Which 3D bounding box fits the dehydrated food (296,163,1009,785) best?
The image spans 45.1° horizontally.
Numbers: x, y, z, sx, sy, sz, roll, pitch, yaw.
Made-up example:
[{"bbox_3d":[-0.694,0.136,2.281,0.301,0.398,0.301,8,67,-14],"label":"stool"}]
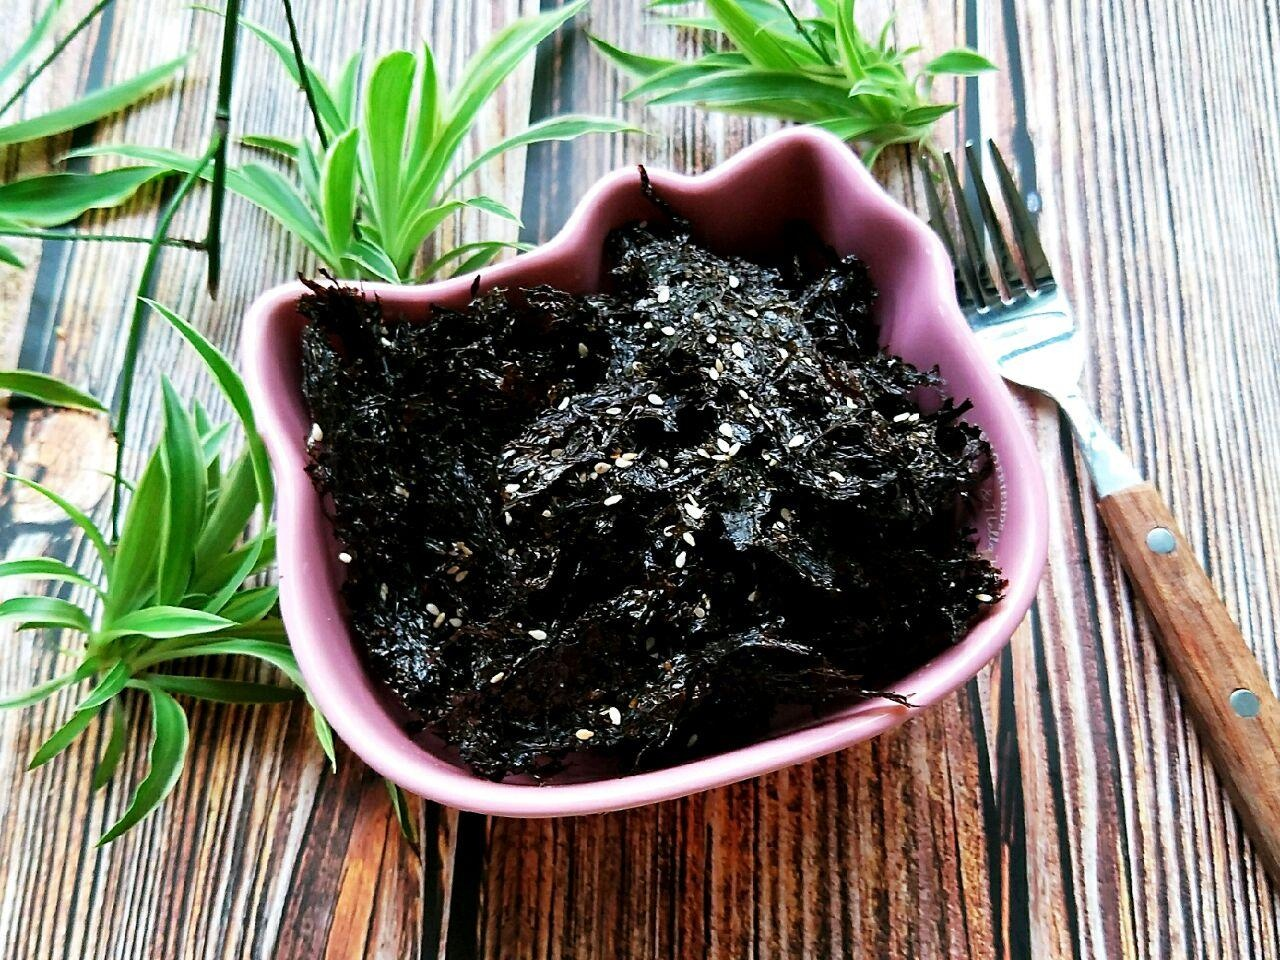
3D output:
[{"bbox_3d":[0.008,0.000,1.546,0.645,0.263,0.570,-11,59,-8],"label":"dehydrated food"}]
